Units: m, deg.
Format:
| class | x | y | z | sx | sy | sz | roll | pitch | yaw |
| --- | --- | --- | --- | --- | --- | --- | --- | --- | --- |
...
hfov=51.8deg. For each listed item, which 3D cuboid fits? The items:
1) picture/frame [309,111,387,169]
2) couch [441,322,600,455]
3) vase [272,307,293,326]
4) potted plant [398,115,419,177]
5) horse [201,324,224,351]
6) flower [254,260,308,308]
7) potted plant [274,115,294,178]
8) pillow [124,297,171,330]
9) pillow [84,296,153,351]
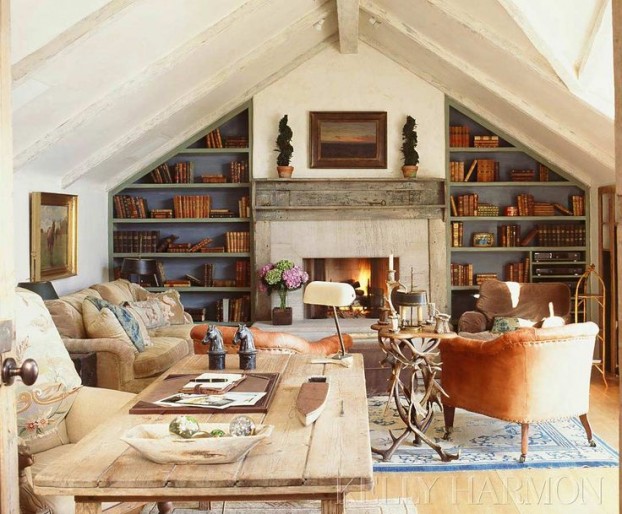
| class | x | y | z | sx | sy | sz | roll | pitch | yaw |
| --- | --- | --- | --- | --- | --- | --- | --- | --- | --- |
| picture/frame | 0.491 | -1.448 | 7.877 | 0.846 | 0.525 | 0.038 | 0 | 3 | 2 |
| couch | 1.642 | 0.822 | 5.197 | 1.345 | 0.991 | 1.081 | 0 | 1 | -29 |
| vase | -0.335 | 0.709 | 7.632 | 0.233 | 0.146 | 0.222 | 0 | 2 | -1 |
| potted plant | 1.220 | -1.332 | 7.799 | 0.211 | 0.758 | 0.248 | 0 | 7 | 7 |
| horse | -0.588 | 0.483 | 3.867 | 0.117 | 0.145 | 0.309 | -1 | 6 | -9 |
| flower | -0.310 | 0.350 | 7.779 | 0.719 | 0.607 | 0.564 | 0 | -2 | 0 |
| potted plant | -0.317 | -1.354 | 7.823 | 0.221 | 0.767 | 0.254 | -1 | 7 | -2 |
| pillow | -1.721 | 0.602 | 6.863 | 0.130 | 0.289 | 0.431 | -34 | -11 | 12 |
| pillow | -1.740 | 0.524 | 5.742 | 0.164 | 0.507 | 0.559 | -35 | -32 | 26 |
